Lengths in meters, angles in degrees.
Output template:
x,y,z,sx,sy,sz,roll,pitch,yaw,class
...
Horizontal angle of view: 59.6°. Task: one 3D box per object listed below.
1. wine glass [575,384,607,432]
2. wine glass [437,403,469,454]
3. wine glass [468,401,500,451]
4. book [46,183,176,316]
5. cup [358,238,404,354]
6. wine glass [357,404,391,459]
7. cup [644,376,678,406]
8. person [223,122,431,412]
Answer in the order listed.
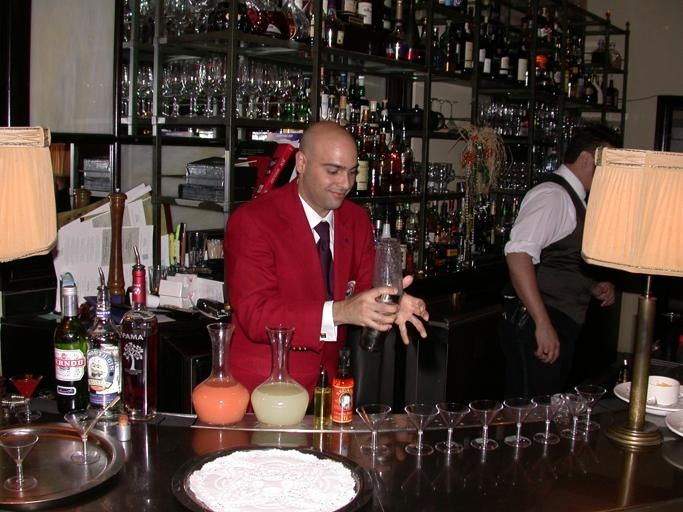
x,y,z,sx,sy,sz,roll,pitch,yaw,class
0.789,0.491,1.929,0.114,0.148,0.125,0,-2,6,wine glass
0.315,0.504,1.751,0.111,0.137,0.118,2,2,2,wine glass
0.418,0.494,1.770,0.115,0.138,0.118,0,3,-7,wine glass
-1.073,-0.016,2.805,0.076,0.696,0.614,14,16,38,book
0.129,0.128,1.922,0.122,0.393,0.194,3,11,3,cup
0.093,0.493,1.677,0.111,0.137,0.117,0,-3,0,wine glass
1.093,0.467,2.083,0.143,0.086,0.148,1,3,0,cup
-0.100,-0.093,2.172,0.644,0.781,0.881,1,12,-11,person
